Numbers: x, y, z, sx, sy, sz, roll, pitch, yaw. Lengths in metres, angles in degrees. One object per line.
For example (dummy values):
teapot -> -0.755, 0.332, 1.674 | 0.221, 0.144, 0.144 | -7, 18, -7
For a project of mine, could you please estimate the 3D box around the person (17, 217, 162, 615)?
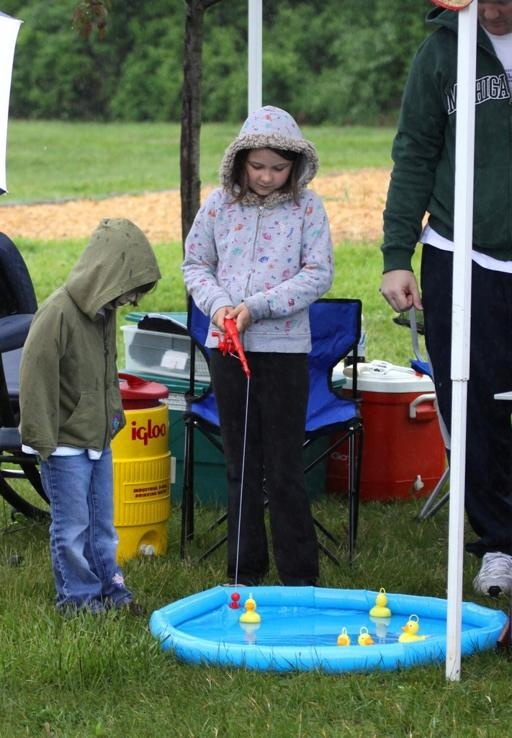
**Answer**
person -> -0.506, 0.161, 4.998 | 0.298, 1.164, 0.553 | 5, 17, 27

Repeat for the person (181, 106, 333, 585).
person -> 0.006, -0.050, 5.114 | 0.476, 1.477, 0.463 | -1, 15, 6

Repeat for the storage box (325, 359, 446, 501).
storage box -> 0.518, 0.248, 6.660 | 0.414, 0.544, 0.513 | -3, 8, -32

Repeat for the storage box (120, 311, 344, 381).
storage box -> -0.272, -0.120, 6.420 | 0.392, 0.229, 0.515 | 6, 6, 42
